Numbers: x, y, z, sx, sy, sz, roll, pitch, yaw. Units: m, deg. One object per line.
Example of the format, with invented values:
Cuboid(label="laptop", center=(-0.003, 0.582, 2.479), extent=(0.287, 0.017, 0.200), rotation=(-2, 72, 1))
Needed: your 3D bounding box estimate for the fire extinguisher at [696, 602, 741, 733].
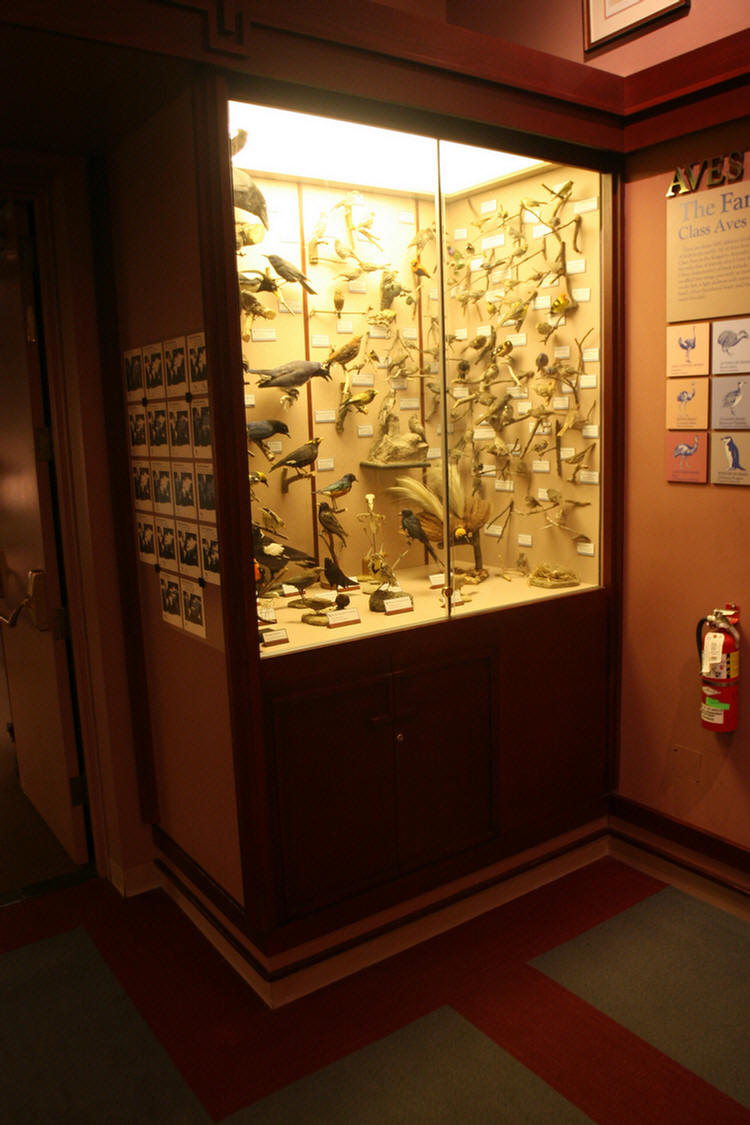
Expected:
Cuboid(label="fire extinguisher", center=(0.999, 0.318, 2.255), extent=(0.070, 0.401, 0.096), rotation=(-9, 14, -43))
